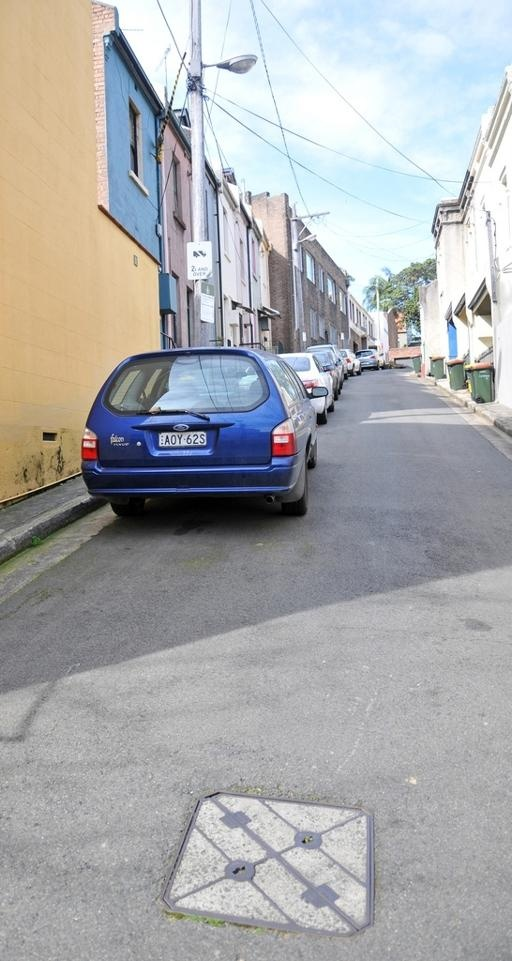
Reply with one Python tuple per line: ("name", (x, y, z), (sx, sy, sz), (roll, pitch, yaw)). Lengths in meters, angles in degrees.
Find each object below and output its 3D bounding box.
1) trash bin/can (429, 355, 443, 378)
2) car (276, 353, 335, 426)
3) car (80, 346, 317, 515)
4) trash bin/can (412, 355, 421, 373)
("trash bin/can", (8.375, -5.240, 29.254), (0.365, 1.014, 0.914), (-3, 6, -21))
("car", (1.303, -2.298, 15.046), (0.912, 1.017, 2.474), (1, 13, 13))
("car", (-0.570, -0.420, 5.593), (1.120, 0.992, 2.106), (0, 12, 7))
("trash bin/can", (9.548, -6.841, 37.408), (0.372, 1.035, 1.355), (0, 6, 12))
